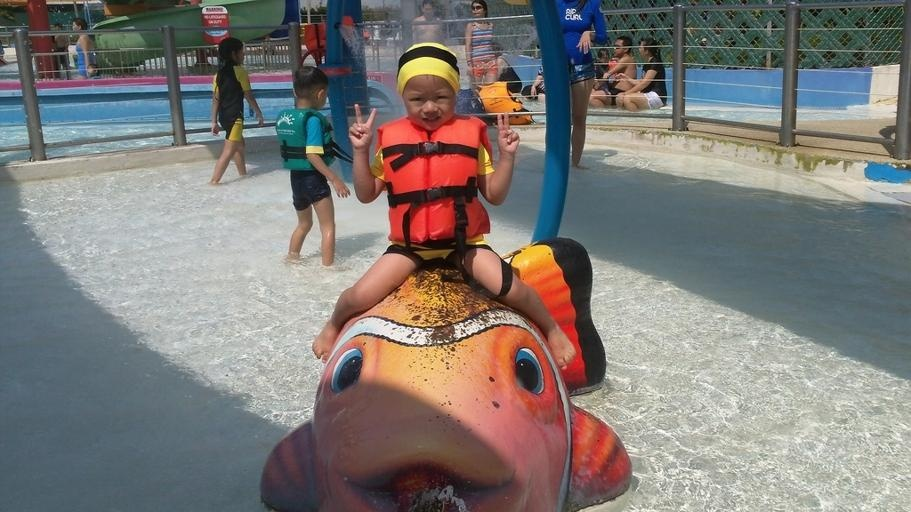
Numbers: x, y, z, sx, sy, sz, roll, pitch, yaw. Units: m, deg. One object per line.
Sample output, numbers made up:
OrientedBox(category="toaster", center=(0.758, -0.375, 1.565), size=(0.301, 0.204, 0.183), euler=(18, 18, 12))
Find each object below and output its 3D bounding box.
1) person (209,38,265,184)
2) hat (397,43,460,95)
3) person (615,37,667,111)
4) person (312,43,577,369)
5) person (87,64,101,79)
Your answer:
OrientedBox(category="person", center=(-3.664, -2.400, 8.849), size=(0.880, 2.263, 1.539), euler=(-8, 18, -17))
OrientedBox(category="hat", center=(-0.137, -1.120, 3.257), size=(0.414, 0.239, 0.365), euler=(-3, 7, -19))
OrientedBox(category="person", center=(3.701, -3.575, 10.746), size=(0.872, 1.402, 1.476), euler=(6, 19, 26))
OrientedBox(category="person", center=(-0.126, -0.274, 3.228), size=(1.495, 1.873, 0.552), euler=(-3, 18, 0))
OrientedBox(category="person", center=(-10.981, -5.586, 16.441), size=(0.301, 0.452, 1.003), euler=(-13, 19, -30))
